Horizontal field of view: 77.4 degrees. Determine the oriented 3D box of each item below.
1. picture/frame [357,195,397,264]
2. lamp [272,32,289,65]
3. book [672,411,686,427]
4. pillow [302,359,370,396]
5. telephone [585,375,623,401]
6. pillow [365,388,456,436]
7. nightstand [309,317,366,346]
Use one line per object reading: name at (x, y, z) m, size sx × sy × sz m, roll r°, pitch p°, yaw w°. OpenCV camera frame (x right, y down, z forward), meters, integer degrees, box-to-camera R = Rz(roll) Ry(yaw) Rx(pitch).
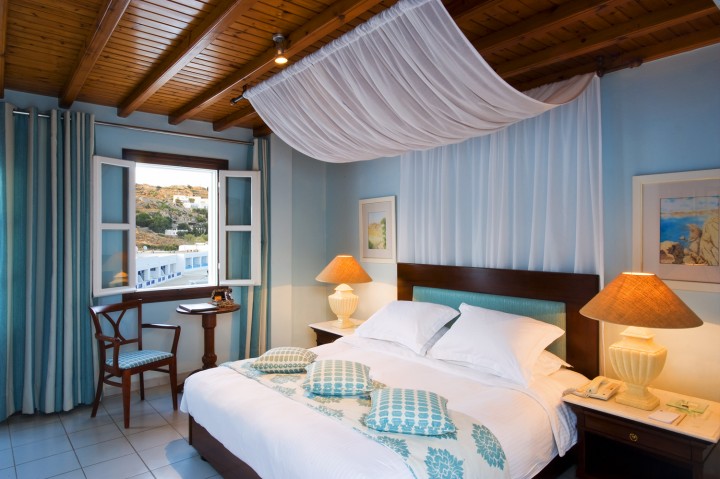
picture/frame at (0.227, -0.140, 5.814) m, size 0.714 × 0.863 × 0.154 m, roll 12°, pitch 19°, yaw 42°
lamp at (-0.682, -1.614, 3.810) m, size 0.125 × 0.253 × 0.317 m, roll -3°, pitch 13°, yaw -9°
book at (2.341, 1.311, 3.289) m, size 0.048 × 0.017 × 0.286 m, roll 6°, pitch 1°, yaw 44°
pillow at (-0.237, 1.127, 3.745) m, size 0.594 × 0.177 × 0.489 m, roll 2°, pitch 12°, yaw -7°
telephone at (1.993, 1.213, 3.671) m, size 0.254 × 0.057 × 0.154 m, roll -3°, pitch 2°, yaw -44°
pillow at (0.380, 1.152, 3.192) m, size 0.407 × 0.108 × 0.330 m, roll 1°, pitch 4°, yaw 17°
nightstand at (-0.273, 0.974, 5.477) m, size 0.411 × 0.483 × 0.581 m, roll -3°, pitch 4°, yaw -39°
